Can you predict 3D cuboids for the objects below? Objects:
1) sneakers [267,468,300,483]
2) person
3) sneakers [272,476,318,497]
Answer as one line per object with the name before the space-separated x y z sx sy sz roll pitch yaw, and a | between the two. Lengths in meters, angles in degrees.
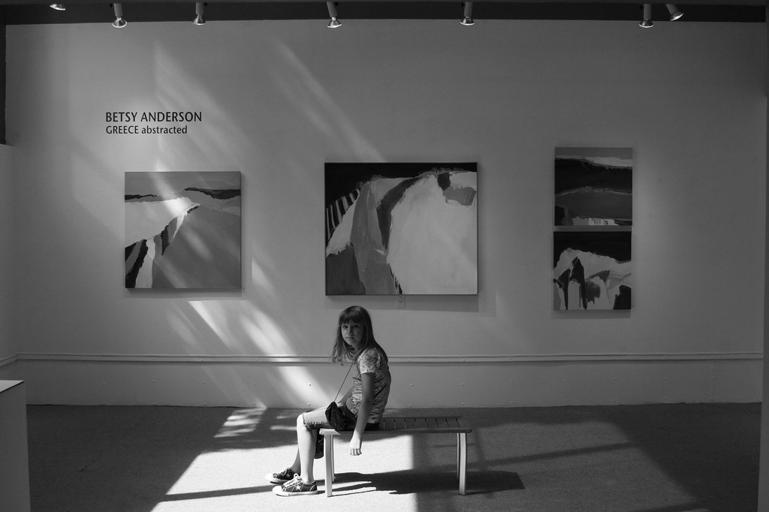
sneakers | -1.112 2.392 7.128 0.385 0.171 0.158 3 -2 -6
person | -0.543 1.533 6.872 1.178 1.952 0.798 0 12 -1
sneakers | -0.963 2.460 7.007 0.486 0.230 0.197 4 -11 -3
